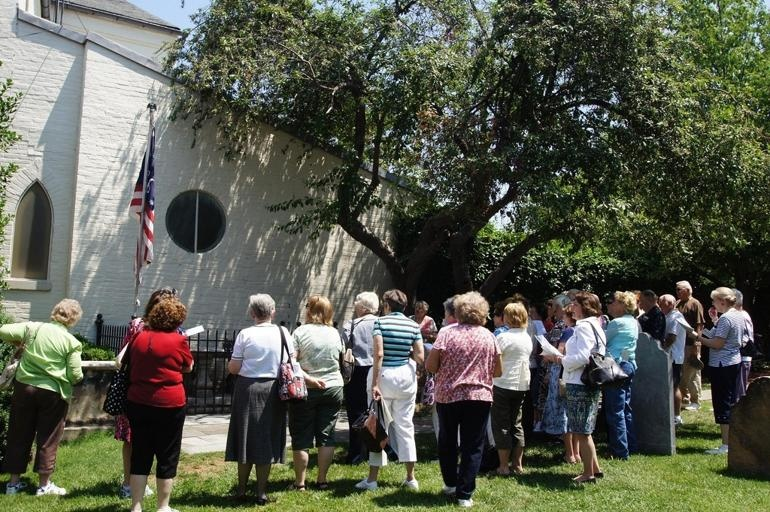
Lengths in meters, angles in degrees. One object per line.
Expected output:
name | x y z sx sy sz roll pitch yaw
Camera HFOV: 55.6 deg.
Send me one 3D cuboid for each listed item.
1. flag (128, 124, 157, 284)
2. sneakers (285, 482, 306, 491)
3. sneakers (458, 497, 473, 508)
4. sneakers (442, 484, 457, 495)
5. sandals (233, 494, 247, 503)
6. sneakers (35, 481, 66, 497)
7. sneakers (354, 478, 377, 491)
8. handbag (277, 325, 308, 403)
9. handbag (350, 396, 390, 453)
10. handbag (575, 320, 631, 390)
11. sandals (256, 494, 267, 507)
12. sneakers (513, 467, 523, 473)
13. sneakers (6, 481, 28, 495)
flag | -5.260 -1.141 15.948 0.376 3.522 0.709 11 -15 -39
sneakers | -1.385 3.590 11.428 0.271 0.089 0.112 4 -6 25
sneakers | 1.223 3.658 10.919 0.248 0.124 0.127 5 -12 -17
sneakers | 0.986 3.554 11.165 0.169 0.124 0.106 -4 1 5
sandals | -2.210 3.636 11.042 0.200 0.120 0.099 3 -12 -6
sneakers | -5.183 3.563 11.277 0.452 0.211 0.187 3 1 -13
sneakers | -0.300 3.562 11.464 0.266 0.125 0.153 0 -6 17
handbag | -1.429 1.638 11.160 0.478 1.108 0.264 3 -11 -8
handbag | -0.232 2.606 11.565 0.283 0.885 0.777 -7 -56 32
handbag | 3.486 1.570 11.739 0.975 1.387 0.650 3 -14 -38
sandals | -1.861 3.664 11.008 0.086 0.101 0.247 4 0 1
sneakers | 2.189 3.489 11.993 0.146 0.107 0.077 -10 -8 36
sneakers | -5.736 3.570 11.334 0.133 0.154 0.378 1 -13 -3
